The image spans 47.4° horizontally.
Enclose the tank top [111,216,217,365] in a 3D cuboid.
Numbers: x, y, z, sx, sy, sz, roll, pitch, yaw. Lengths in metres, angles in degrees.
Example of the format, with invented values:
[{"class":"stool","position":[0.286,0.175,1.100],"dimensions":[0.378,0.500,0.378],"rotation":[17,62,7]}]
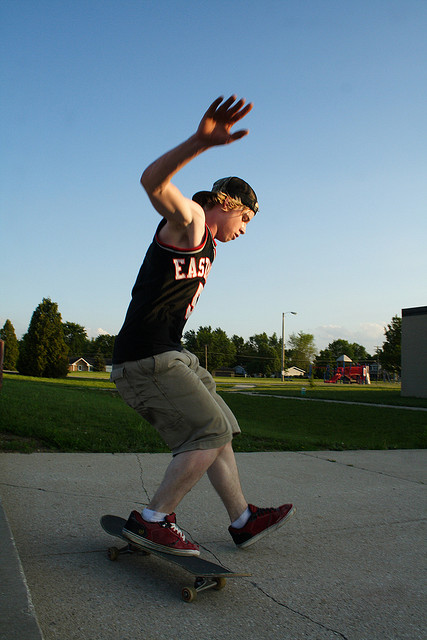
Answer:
[{"class":"tank top","position":[-0.211,-0.146,2.214],"dimensions":[0.441,0.715,0.299],"rotation":[4,-5,-11]}]

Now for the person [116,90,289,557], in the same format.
[{"class":"person","position":[-0.093,0.119,2.129],"dimensions":[0.723,1.921,0.912],"rotation":[2,-5,9]}]

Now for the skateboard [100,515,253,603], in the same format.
[{"class":"skateboard","position":[-0.246,0.930,2.075],"dimensions":[0.911,0.163,0.238],"rotation":[4,-7,45]}]
